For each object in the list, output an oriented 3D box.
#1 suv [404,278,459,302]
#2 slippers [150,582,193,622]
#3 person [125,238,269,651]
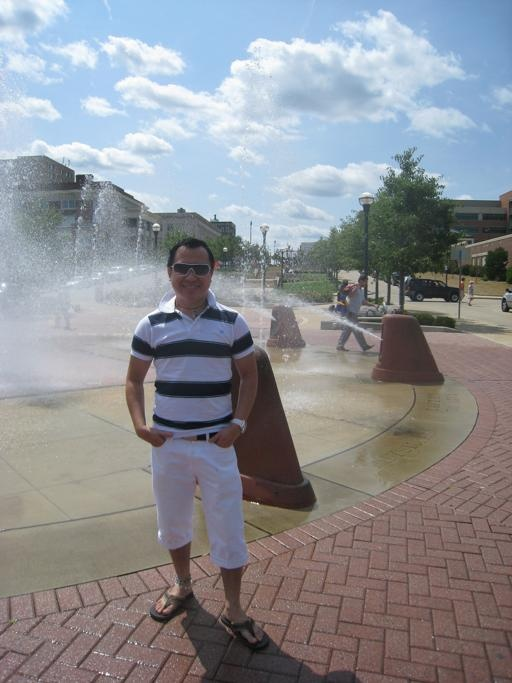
[{"bbox_3d":[13.549,-4.003,39.620,4.417,1.745,1.944,-1,9,0],"label":"suv"},{"bbox_3d":[-0.387,1.180,2.281,0.076,0.053,0.201,8,-9,26],"label":"slippers"},{"bbox_3d":[-0.251,0.399,2.125,0.618,1.664,0.364,1,7,2],"label":"person"}]
